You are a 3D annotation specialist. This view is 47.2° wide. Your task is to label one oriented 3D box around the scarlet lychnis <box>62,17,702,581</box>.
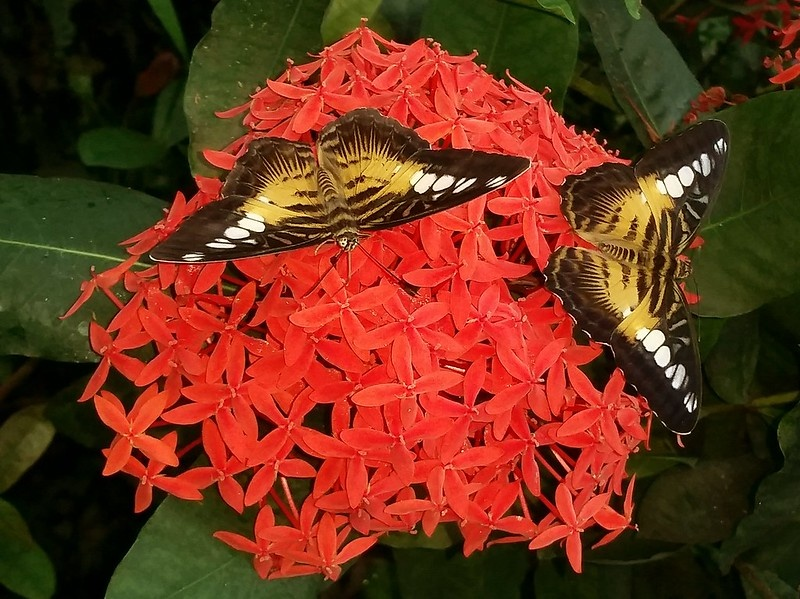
[{"bbox_3d":[-0.016,0.063,2.259,1.387,1.141,0.541,22,10,-7],"label":"scarlet lychnis"}]
